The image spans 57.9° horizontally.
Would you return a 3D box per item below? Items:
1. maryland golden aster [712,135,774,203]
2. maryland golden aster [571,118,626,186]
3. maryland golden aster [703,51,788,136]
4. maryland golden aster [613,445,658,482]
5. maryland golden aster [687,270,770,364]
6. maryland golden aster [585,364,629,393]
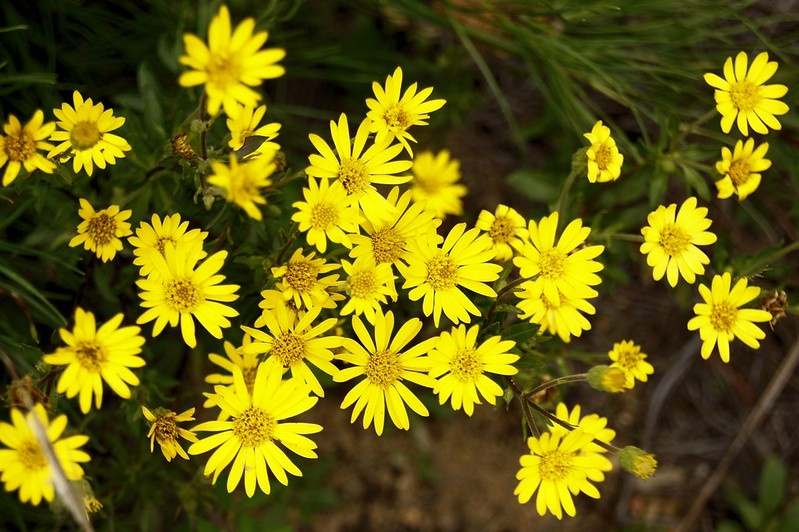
[{"bbox_3d":[1.223,-0.373,2.599,0.221,0.259,0.112,2,72,4],"label":"maryland golden aster"},{"bbox_3d":[0.689,-0.387,2.486,0.077,0.206,0.199,2,35,36],"label":"maryland golden aster"},{"bbox_3d":[1.218,-0.656,2.556,0.244,0.257,0.088,14,80,7],"label":"maryland golden aster"},{"bbox_3d":[0.793,0.665,2.471,0.154,0.066,0.106,22,86,30],"label":"maryland golden aster"},{"bbox_3d":[1.115,0.156,2.464,0.308,0.094,0.294,-33,38,-13],"label":"maryland golden aster"},{"bbox_3d":[0.688,0.372,2.395,0.126,0.070,0.081,5,84,8],"label":"maryland golden aster"}]
